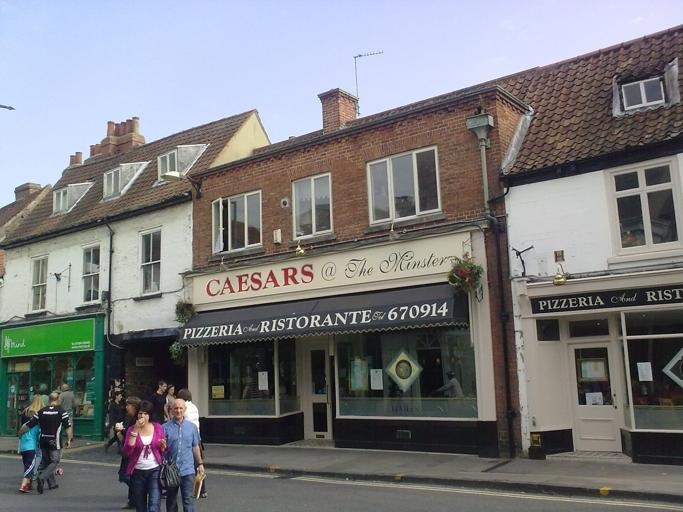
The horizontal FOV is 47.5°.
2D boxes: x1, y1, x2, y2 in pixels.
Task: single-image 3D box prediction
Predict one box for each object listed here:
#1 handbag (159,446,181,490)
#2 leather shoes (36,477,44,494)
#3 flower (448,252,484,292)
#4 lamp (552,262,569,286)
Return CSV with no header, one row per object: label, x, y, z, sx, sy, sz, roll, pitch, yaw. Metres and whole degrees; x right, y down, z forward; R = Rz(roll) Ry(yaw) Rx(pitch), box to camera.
handbag,-3.097,3.998,14.157,0.345,0.625,0.273,-3,0,-17
leather shoes,-6.708,5.149,17.445,0.141,0.427,0.179,1,-5,-2
flower,3.124,0.441,19.817,0.843,0.759,0.965,3,-3,-10
lamp,5.315,0.428,18.792,0.321,0.562,0.407,-3,0,16
